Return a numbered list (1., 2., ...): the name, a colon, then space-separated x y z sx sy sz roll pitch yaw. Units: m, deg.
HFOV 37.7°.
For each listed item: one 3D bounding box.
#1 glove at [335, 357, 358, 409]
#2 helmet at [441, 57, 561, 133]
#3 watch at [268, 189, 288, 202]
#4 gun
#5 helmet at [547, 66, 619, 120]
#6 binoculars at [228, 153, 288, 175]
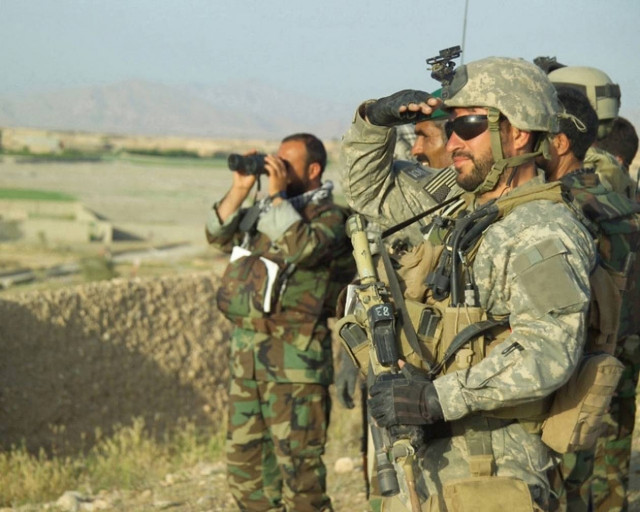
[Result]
1. glove: 0.173 0.813 6.002 0.088 0.317 0.195 -6 49 -14
2. helmet: 0.926 -0.788 4.837 0.558 0.497 0.509 4 19 18
3. watch: -0.260 -0.351 5.826 0.106 0.073 0.069 3 5 -1
4. gun: 0.294 0.500 4.734 0.262 1.674 0.577 1 -25 -14
5. helmet: 1.785 -1.156 6.347 0.401 0.339 0.328 11 49 27
6. binoculars: -0.432 -0.535 5.766 0.121 0.122 0.235 38 21 35
